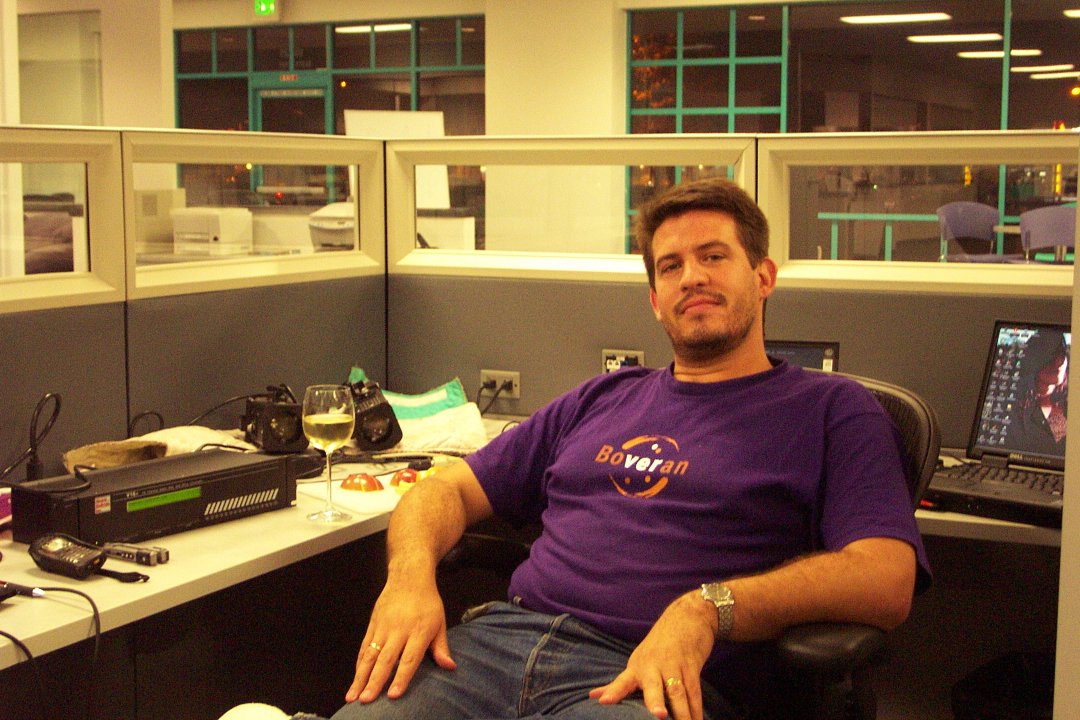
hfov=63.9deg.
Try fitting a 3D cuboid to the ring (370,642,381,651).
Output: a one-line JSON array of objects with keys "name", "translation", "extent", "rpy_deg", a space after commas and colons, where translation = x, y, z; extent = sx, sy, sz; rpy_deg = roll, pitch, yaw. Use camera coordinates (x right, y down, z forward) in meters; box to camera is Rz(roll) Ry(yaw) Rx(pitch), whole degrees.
[{"name": "ring", "translation": [-0.324, 0.562, 1.703], "extent": [0.022, 0.015, 0.014], "rpy_deg": [2, 8, 26]}]

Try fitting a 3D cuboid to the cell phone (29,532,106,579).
[{"name": "cell phone", "translation": [-0.956, 0.394, 1.748], "extent": [0.130, 0.046, 0.080], "rpy_deg": [13, 21, 16]}]

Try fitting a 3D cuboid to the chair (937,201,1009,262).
[{"name": "chair", "translation": [2.637, -0.821, 5.345], "extent": [0.312, 0.313, 0.583], "rpy_deg": [2, 8, 25]}]

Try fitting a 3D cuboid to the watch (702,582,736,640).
[{"name": "watch", "translation": [0.338, 0.472, 1.638], "extent": [0.063, 0.086, 0.094], "rpy_deg": [6, -27, -1]}]
